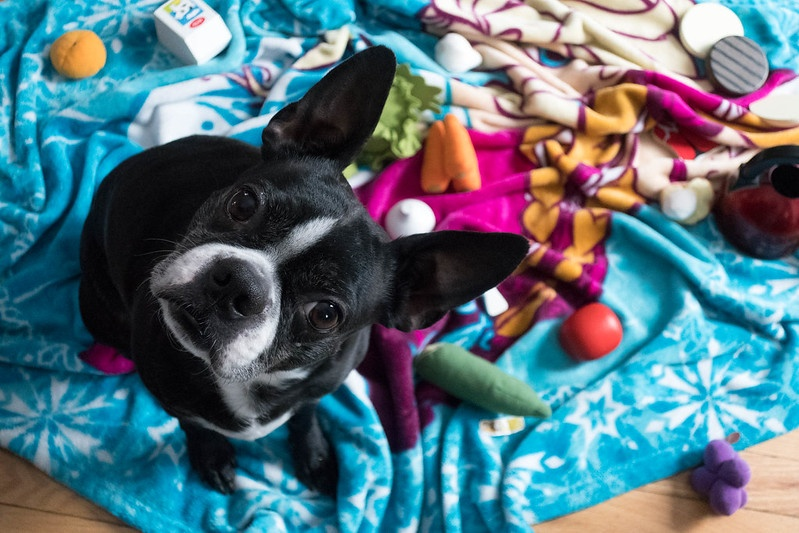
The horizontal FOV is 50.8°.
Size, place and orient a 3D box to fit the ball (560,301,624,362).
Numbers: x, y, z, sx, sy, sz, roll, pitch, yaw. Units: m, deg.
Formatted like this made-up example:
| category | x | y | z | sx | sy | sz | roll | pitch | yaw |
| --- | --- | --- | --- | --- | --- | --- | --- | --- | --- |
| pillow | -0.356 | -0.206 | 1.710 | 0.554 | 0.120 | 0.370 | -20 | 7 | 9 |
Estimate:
| category | x | y | z | sx | sy | sz | roll | pitch | yaw |
| --- | --- | --- | --- | --- | --- | --- | --- | --- | --- |
| ball | 0.873 | 0.289 | 3.814 | 0.276 | 0.268 | 0.261 | 4 | 5 | 0 |
